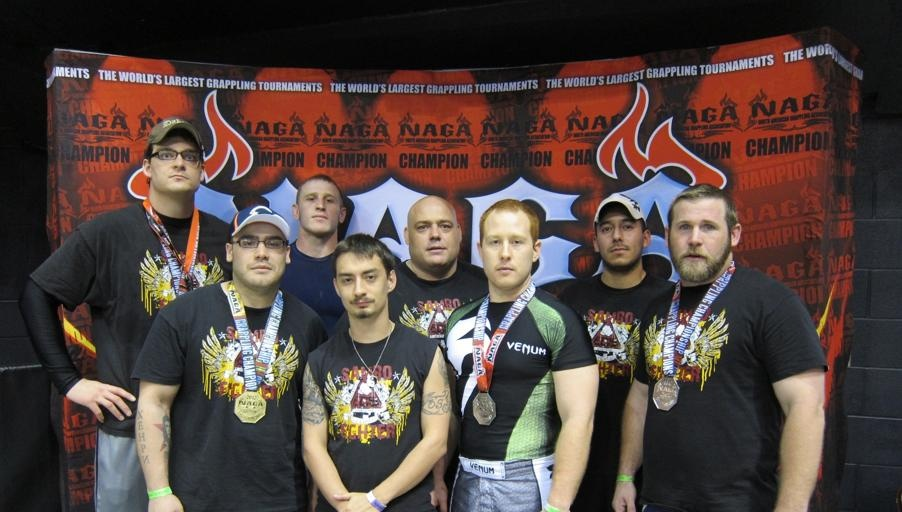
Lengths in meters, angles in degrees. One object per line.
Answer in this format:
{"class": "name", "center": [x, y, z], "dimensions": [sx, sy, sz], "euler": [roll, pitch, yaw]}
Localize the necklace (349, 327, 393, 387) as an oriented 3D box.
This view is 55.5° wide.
{"class": "necklace", "center": [-0.696, 0.889, 7.424], "dimensions": [0.279, 0.448, 0.091], "euler": [3, -18, -2]}
